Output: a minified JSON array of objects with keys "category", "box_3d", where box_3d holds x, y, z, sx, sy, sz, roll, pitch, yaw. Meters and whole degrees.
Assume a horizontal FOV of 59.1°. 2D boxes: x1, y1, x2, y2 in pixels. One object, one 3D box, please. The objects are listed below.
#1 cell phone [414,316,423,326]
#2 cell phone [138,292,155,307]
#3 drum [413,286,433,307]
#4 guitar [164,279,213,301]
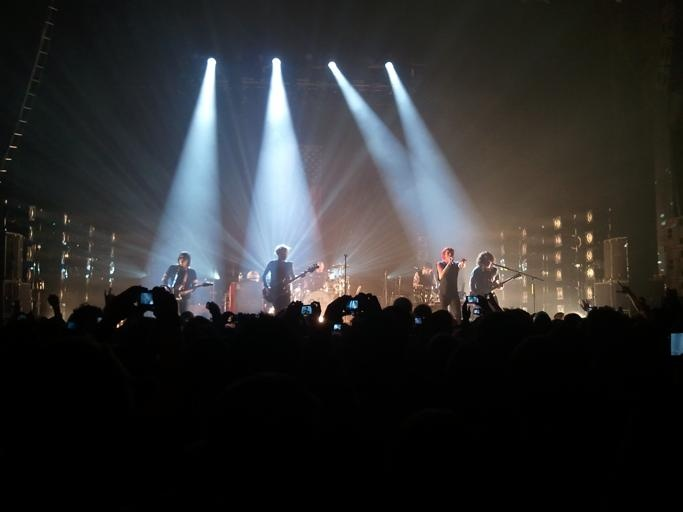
[{"category":"cell phone","box_3d":[0.999,0.852,7.871,0.143,0.147,0.077,18,-27,-36]},{"category":"cell phone","box_3d":[-2.013,0.448,6.220,0.084,0.166,0.161,-14,-13,35]},{"category":"drum","box_3d":[1.926,0.937,14.133,0.329,0.621,0.610,3,-3,-24]},{"category":"guitar","box_3d":[-3.193,0.714,12.639,0.797,0.344,0.141,-18,-19,8]}]
